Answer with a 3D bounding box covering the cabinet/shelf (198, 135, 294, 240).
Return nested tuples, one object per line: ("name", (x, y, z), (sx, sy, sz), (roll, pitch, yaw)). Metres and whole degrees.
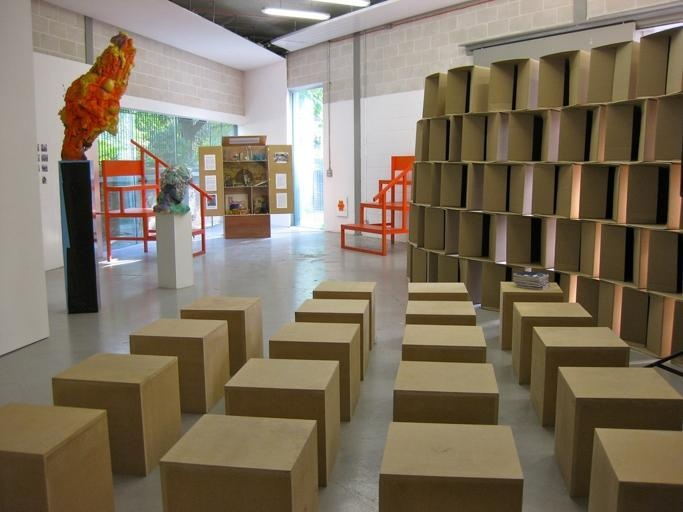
("cabinet/shelf", (-1.916, -1.361, 10.770), (1.796, 2.107, 0.499), (-3, -8, -13))
